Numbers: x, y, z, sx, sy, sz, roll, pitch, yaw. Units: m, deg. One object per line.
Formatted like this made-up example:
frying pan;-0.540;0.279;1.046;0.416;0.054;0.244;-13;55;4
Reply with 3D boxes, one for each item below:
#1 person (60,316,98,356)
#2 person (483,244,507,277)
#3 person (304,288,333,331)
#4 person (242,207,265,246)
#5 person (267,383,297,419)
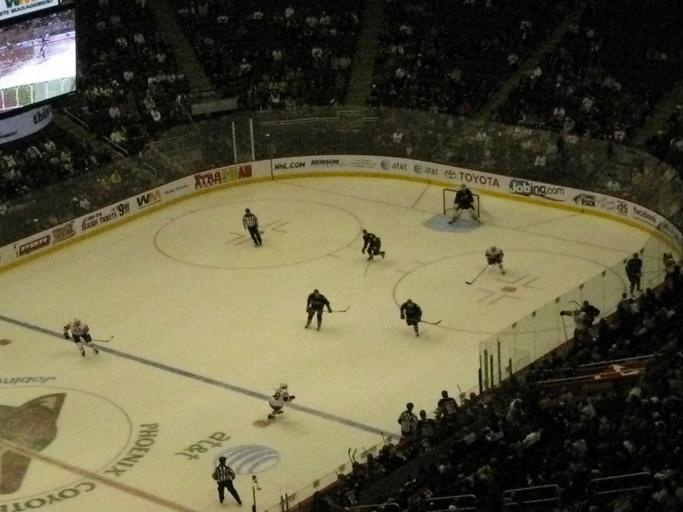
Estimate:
person;-8.483;2.577;28.058;0.993;1.437;1.046;-6;35;-20
person;5.662;0.126;31.681;0.748;1.013;0.523;1;35;15
person;-0.766;1.835;28.630;0.879;1.447;0.712;14;15;19
person;-3.515;-1.244;34.577;0.842;1.820;0.973;4;33;-6
person;-1.729;4.228;24.875;0.539;0.945;0.774;18;14;15
